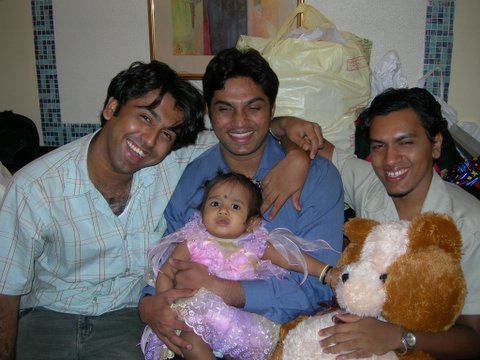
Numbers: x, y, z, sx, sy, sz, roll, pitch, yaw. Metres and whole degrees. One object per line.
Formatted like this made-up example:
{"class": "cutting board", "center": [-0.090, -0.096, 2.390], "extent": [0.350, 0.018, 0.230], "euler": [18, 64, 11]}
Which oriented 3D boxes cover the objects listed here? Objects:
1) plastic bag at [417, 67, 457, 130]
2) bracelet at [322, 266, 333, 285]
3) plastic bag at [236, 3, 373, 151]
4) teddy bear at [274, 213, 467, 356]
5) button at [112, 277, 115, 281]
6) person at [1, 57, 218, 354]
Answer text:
{"class": "plastic bag", "center": [1.485, -0.621, 3.018], "extent": [0.287, 0.467, 0.747], "euler": [6, 14, 28]}
{"class": "bracelet", "center": [0.431, 0.467, 1.982], "extent": [0.025, 0.077, 0.065], "euler": [9, 7, 21]}
{"class": "plastic bag", "center": [0.518, -0.757, 2.908], "extent": [0.857, 1.018, 0.593], "euler": [3, 13, 15]}
{"class": "teddy bear", "center": [0.611, 0.390, 1.970], "extent": [0.638, 0.846, 0.780], "euler": [11, -6, -41]}
{"class": "button", "center": [-0.713, 0.555, 2.268], "extent": [0.021, 0.032, 0.015], "euler": [-6, 14, -23]}
{"class": "person", "center": [-0.732, 0.152, 2.209], "extent": [1.070, 1.552, 0.449], "euler": [-3, 13, -10]}
